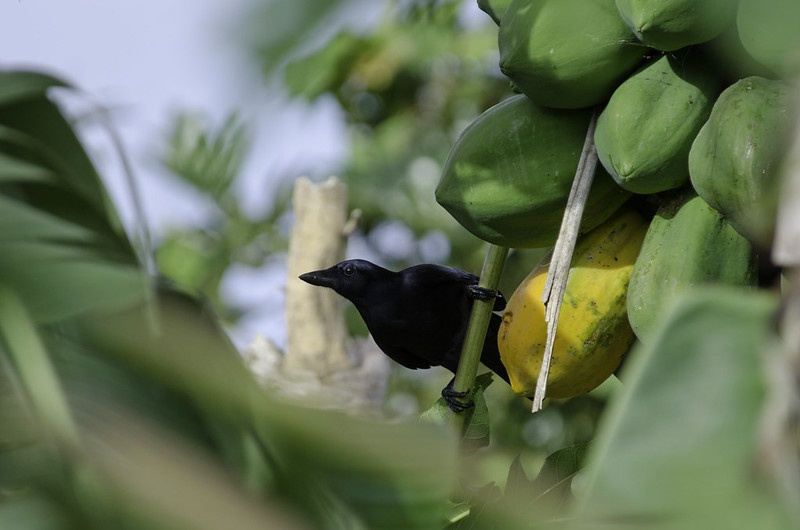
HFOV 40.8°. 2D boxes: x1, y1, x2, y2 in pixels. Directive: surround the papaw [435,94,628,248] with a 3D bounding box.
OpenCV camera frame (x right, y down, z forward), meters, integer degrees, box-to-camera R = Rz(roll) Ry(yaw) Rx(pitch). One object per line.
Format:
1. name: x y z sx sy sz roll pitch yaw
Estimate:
1. papaw: 0.134 -0.147 1.339 0.207 0.156 0.145 -41 108 -15
